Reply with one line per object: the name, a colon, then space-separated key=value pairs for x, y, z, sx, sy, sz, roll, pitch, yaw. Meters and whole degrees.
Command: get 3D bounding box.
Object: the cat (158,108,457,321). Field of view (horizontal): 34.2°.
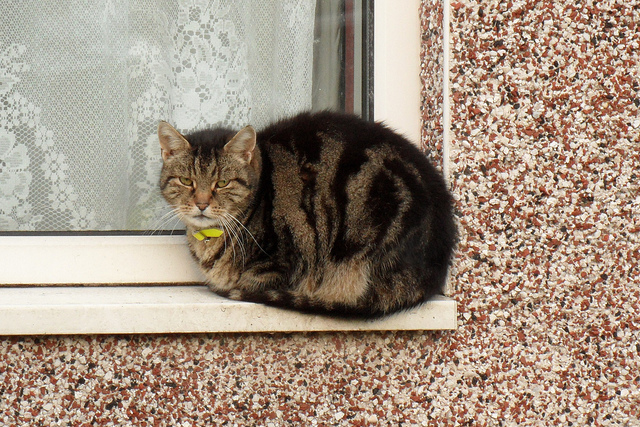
cat: x=-0.067 y=-0.004 z=3.682 sx=0.969 sy=0.614 sz=0.683 roll=0 pitch=90 yaw=-8
